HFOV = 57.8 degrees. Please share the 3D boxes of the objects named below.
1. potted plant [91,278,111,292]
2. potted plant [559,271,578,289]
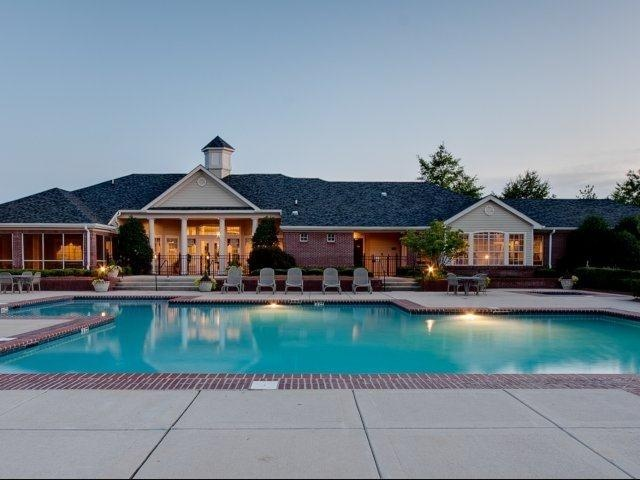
[{"bbox_3d":[-10.959,2.197,29.030,0.668,0.429,0.644,3,-8,-20],"label":"potted plant"},{"bbox_3d":[13.453,2.185,31.451,0.888,0.857,0.858,-2,-3,31],"label":"potted plant"}]
